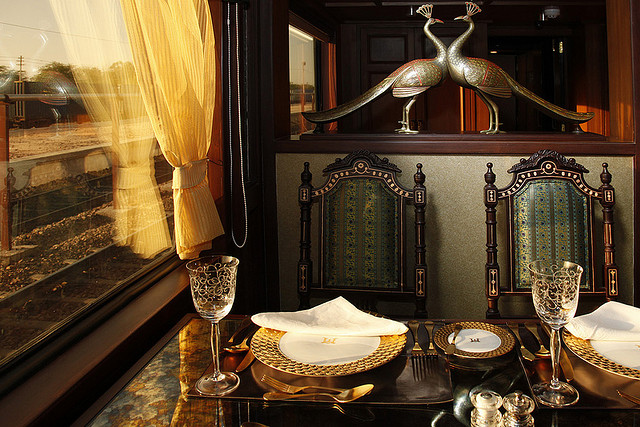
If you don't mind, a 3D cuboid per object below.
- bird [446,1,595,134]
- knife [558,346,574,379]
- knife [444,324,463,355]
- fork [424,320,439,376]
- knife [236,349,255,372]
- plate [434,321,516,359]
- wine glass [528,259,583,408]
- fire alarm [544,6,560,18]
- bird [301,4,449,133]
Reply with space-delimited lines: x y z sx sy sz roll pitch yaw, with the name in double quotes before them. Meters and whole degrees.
"bird" 0.960 -0.721 2.398 0.653 0.651 0.287 2 6 6
"knife" 0.625 0.378 1.217 0.017 0.011 0.134 2 12 14
"knife" 0.366 0.354 1.307 0.026 0.019 0.175 2 21 18
"fork" 0.295 0.349 1.267 0.023 0.177 0.008 -6 23 6
"knife" -0.193 0.386 1.246 0.030 0.006 0.085 9 14 9
"plate" 0.432 0.357 1.338 0.216 0.024 0.224 -2 11 17
"wine glass" 0.565 0.272 1.171 0.119 0.313 0.203 2 6 5
"fire alarm" 2.092 -1.791 4.301 0.097 0.058 0.099 4 9 21
"bird" 0.309 -0.642 2.471 0.685 0.445 0.128 4 6 17
